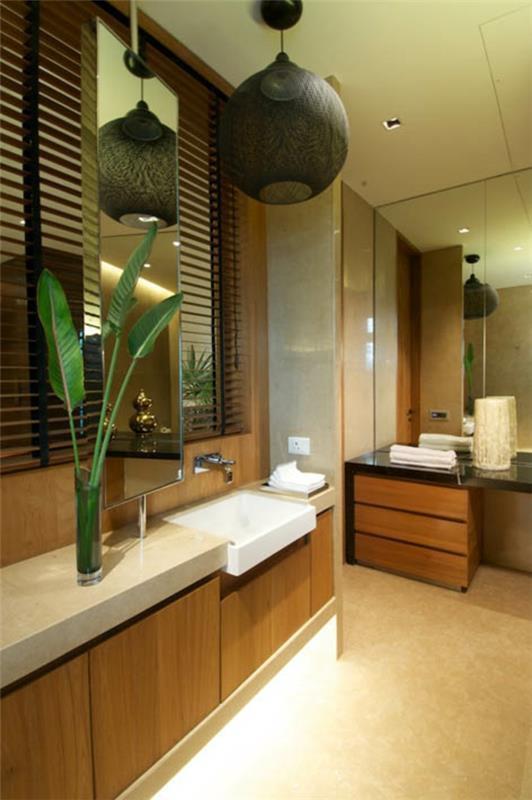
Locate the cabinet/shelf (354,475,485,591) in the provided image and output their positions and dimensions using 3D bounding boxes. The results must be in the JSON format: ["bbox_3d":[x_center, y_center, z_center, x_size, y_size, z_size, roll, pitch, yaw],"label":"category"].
[{"bbox_3d":[0.880,0.588,3.206,0.666,0.804,0.477,-2,-9,35],"label":"cabinet/shelf"}]

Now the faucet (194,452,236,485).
[{"bbox_3d":[-0.179,0.236,2.017,0.121,0.107,0.112,5,3,42],"label":"faucet"}]

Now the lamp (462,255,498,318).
[{"bbox_3d":[1.100,-0.567,2.878,0.217,0.404,0.240,0,3,26],"label":"lamp"}]

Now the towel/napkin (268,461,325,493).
[{"bbox_3d":[0.126,0.307,2.227,0.239,0.092,0.223,4,7,40],"label":"towel/napkin"}]
